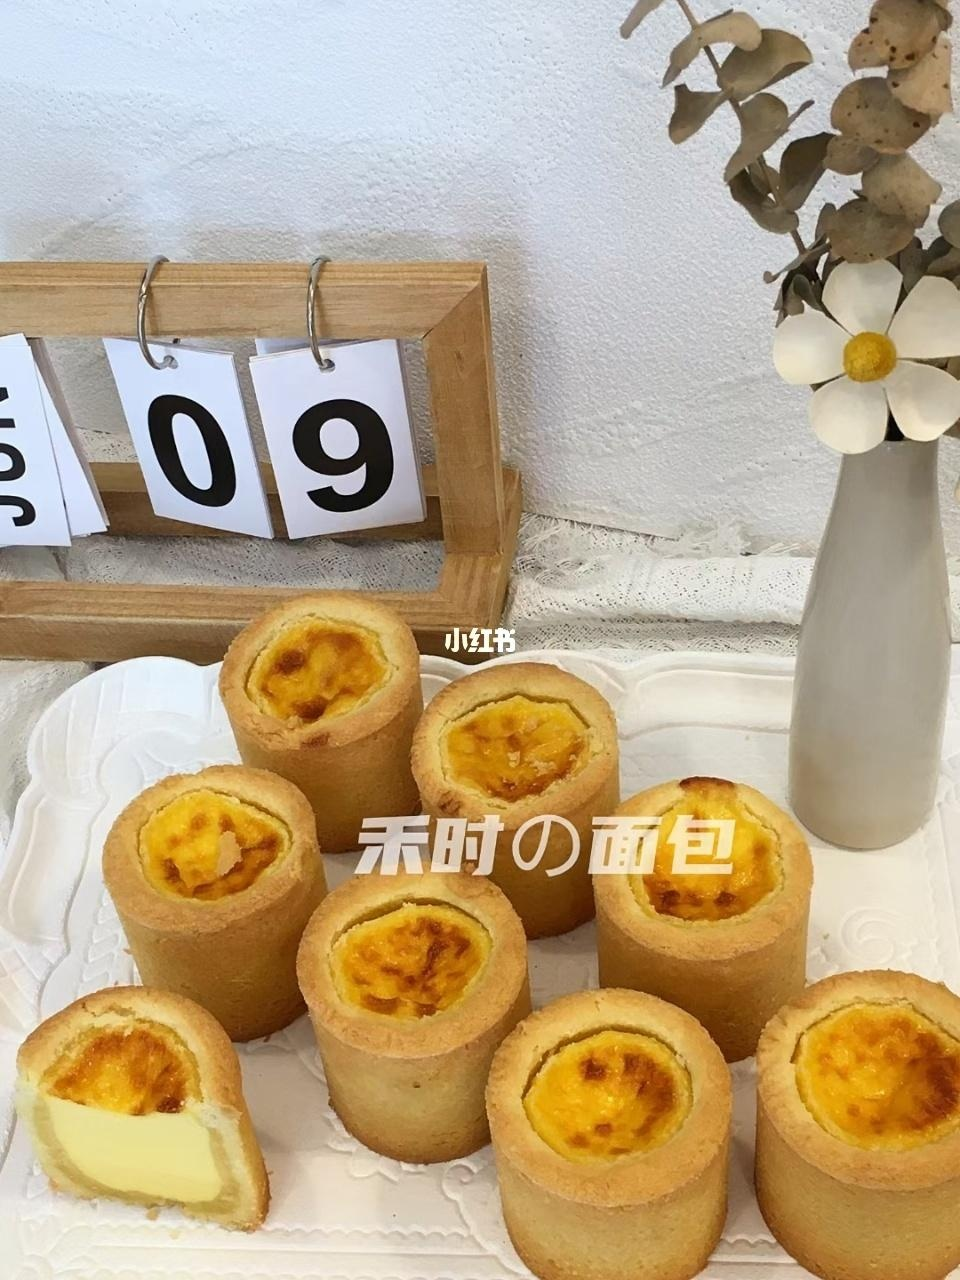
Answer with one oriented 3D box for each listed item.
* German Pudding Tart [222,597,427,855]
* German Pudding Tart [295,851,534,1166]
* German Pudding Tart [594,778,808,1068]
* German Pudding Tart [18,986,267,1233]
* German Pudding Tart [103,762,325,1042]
[{"bbox_3d":[-0.119,0.061,0.912,0.157,0.145,0.129,-2,52,-9],"label":"German Pudding Tart"},{"bbox_3d":[-0.039,0.237,0.777,0.178,0.125,0.161,1,35,1],"label":"German Pudding Tart"},{"bbox_3d":[0.149,0.179,0.765,0.142,0.131,0.125,-1,44,13],"label":"German Pudding Tart"},{"bbox_3d":[-0.188,0.275,0.706,0.144,0.105,0.090,4,34,14],"label":"German Pudding Tart"},{"bbox_3d":[-0.160,0.179,0.812,0.151,0.141,0.140,18,48,28],"label":"German Pudding Tart"}]
